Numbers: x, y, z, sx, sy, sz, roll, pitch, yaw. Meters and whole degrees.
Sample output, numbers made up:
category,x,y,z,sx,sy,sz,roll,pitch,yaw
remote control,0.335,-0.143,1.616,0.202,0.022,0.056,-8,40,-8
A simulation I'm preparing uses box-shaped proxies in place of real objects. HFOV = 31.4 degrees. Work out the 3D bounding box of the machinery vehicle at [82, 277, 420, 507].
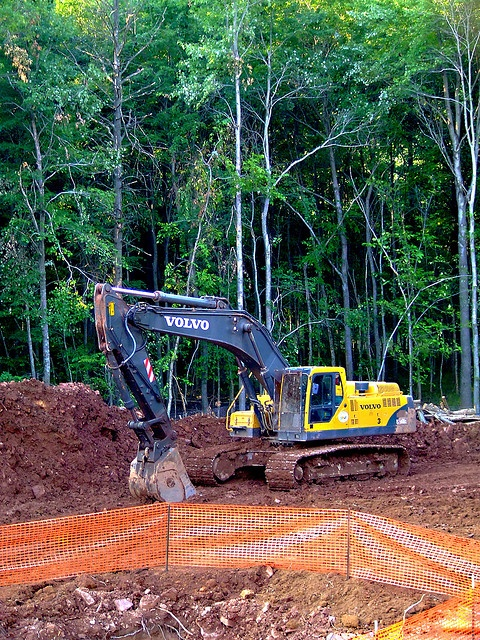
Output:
category,x,y,z,sx,sy,sz,roll,pitch,yaw
machinery vehicle,0.228,1.383,15.011,6.178,3.186,2.852,5,-10,-44
